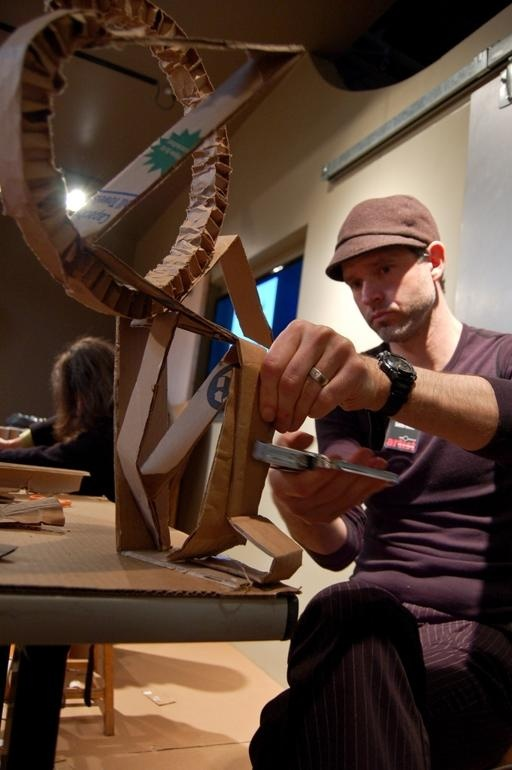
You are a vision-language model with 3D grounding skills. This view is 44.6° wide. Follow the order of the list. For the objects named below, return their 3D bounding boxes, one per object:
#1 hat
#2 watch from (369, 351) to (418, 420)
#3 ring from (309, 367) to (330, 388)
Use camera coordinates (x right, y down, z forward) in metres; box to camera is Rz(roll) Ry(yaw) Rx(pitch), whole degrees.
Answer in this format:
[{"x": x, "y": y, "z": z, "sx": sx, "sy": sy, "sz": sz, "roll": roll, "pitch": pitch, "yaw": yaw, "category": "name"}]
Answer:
[{"x": 0.265, "y": -0.332, "z": 1.339, "sx": 0.217, "sy": 0.133, "sz": 0.301, "roll": -13, "pitch": 0, "yaw": 43, "category": "hat"}, {"x": 0.150, "y": -0.002, "z": 0.676, "sx": 0.046, "sy": 0.074, "sz": 0.046, "roll": 4, "pitch": -12, "yaw": 32, "category": "watch"}, {"x": 0.059, "y": -0.007, "z": 0.590, "sx": 0.017, "sy": 0.016, "sz": 0.017, "roll": 40, "pitch": -2, "yaw": 2, "category": "ring"}]
